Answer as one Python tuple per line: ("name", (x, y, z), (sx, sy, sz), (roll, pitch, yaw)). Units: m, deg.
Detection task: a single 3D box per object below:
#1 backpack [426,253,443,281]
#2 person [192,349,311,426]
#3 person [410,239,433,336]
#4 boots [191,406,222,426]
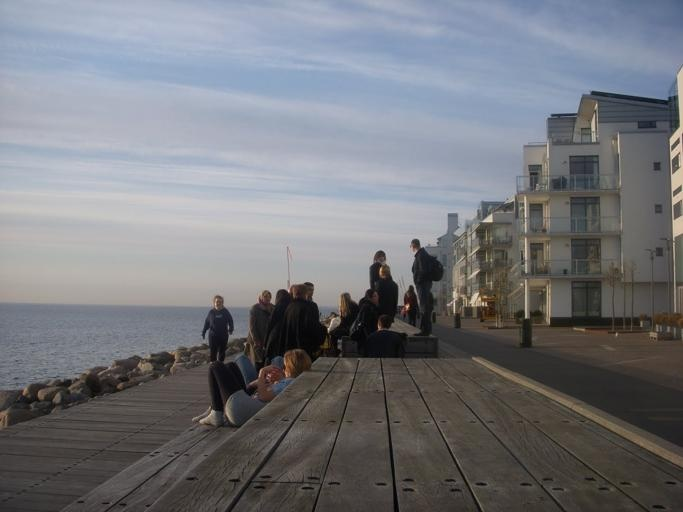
("backpack", (2.095, 0.286, 13.743), (0.495, 0.527, 0.373), (2, 1, 1))
("person", (-1.045, 1.469, 6.955), (1.002, 0.659, 1.125), (-6, -5, -41))
("person", (1.848, 0.680, 13.646), (0.478, 1.988, 1.280), (-9, -3, 6))
("boots", (-1.508, 1.821, 7.033), (0.500, 0.222, 0.177), (0, -7, 39))
